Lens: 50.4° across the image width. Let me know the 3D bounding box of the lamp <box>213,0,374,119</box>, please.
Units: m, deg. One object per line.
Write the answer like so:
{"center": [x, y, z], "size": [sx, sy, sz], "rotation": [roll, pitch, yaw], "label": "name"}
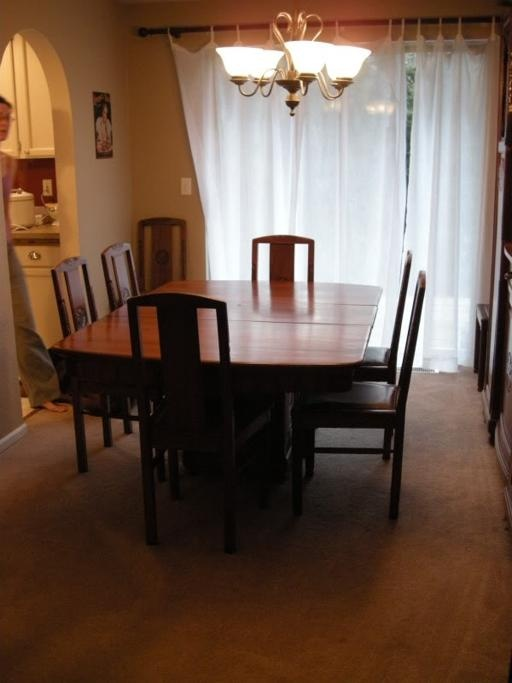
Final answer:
{"center": [0.154, -1.103, 2.151], "size": [0.573, 0.365, 0.575], "rotation": [-13, 24, -39], "label": "lamp"}
